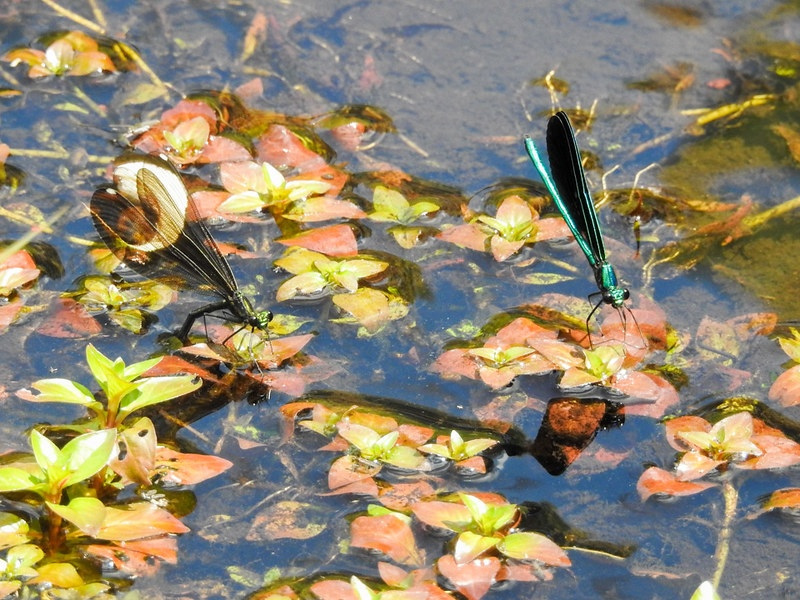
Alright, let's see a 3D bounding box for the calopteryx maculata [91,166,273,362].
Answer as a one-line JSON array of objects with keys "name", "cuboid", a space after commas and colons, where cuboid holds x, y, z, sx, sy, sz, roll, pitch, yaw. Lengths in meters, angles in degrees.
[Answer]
[{"name": "calopteryx maculata", "cuboid": [-1.280, -0.333, 5.862, 0.671, 0.937, 1.198, 9, 11, 36]}]
